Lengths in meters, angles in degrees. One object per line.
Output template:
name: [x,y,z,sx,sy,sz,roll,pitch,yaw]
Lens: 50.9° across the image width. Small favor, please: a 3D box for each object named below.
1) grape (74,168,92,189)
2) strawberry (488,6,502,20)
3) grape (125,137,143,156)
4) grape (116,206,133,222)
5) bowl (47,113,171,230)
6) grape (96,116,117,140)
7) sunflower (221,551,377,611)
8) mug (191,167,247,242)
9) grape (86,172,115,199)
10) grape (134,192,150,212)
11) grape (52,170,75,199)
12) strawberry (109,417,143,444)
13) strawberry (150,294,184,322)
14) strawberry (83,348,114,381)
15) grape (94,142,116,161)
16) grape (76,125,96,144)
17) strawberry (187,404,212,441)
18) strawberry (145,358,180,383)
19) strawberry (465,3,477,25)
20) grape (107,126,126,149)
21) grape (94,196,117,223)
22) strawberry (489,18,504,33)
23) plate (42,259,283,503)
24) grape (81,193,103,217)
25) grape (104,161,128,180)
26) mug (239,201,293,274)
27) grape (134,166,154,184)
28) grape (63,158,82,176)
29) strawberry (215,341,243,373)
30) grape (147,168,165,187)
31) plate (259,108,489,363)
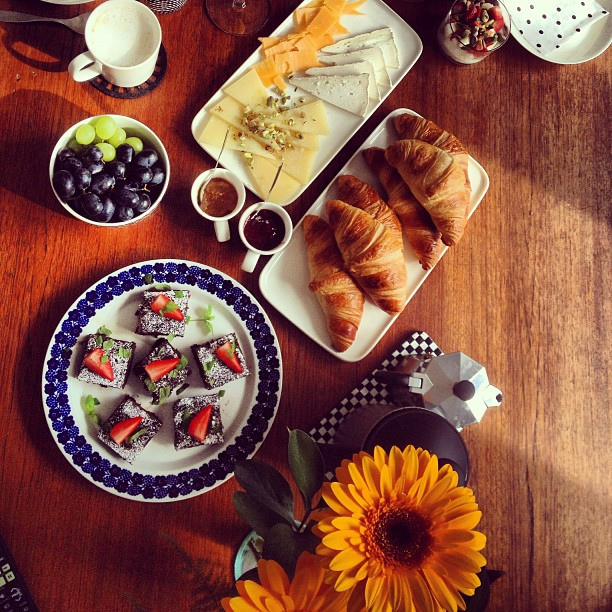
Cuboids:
grape: [-0.500,-0.286,1.444,0.031,0.032,0.045,2,88,-14]
strawberry: [0.483,-0.741,1.631,0.035,0.020,0.029,-15,85,-2]
grape: [-0.400,-0.378,1.526,0.035,0.019,0.038,-1,88,-40]
grape: [-0.426,-0.212,1.482,0.028,0.016,0.031,1,103,-9]
bowl: [-0.453,-0.272,1.491,0.252,0.139,0.285,-1,92,-10]
grape: [-0.455,-0.406,1.471,0.038,0.038,0.052,16,71,-19]
sunflower: [-0.009,0.460,1.079,0.251,0.101,0.093,1,85,-1]
mug: [-0.214,-0.253,1.589,0.116,0.070,0.180,-6,99,-8]
grape: [-0.462,-0.277,1.464,0.068,0.038,0.042,-30,118,1]
grape: [-0.383,-0.246,1.518,0.028,0.035,0.048,13,85,1]
grape: [-0.542,-0.276,1.447,0.048,0.038,0.057,-9,85,-2]
strawberry: [-0.426,0.286,1.536,0.075,0.045,0.038,-44,87,-4]
strawberry: [-0.332,0.004,1.537,0.074,0.023,0.046,36,84,-7]
strawberry: [-0.495,0.139,1.539,0.058,0.021,0.076,-42,100,-16]
grape: [-0.456,-0.358,1.484,0.039,0.020,0.042,-5,93,-36]
grape: [-0.499,-0.390,1.462,0.034,0.023,0.045,6,80,-18]
strawberry: [-0.254,0.277,1.553,0.043,0.055,0.085,9,85,0]
strawberry: [-0.346,0.148,1.557,0.074,0.027,0.046,-22,108,-17]
strawberry: [0.420,-0.740,1.635,0.029,0.021,0.040,41,85,3]
grape: [-0.439,-0.391,1.503,0.043,0.023,0.047,1,94,-36]
grape: [-0.452,-0.220,1.469,0.043,0.026,0.054,30,84,-43]
strawberry: [0.494,-0.718,1.646,0.046,0.024,0.024,-32,86,-4]
plate: [-0.340,0.174,1.576,0.567,0.107,0.574,-15,85,-3]
grape: [-0.477,-0.230,1.446,0.038,0.028,0.052,-20,90,-24]
grape: [-0.434,-0.314,1.487,0.036,0.025,0.047,-5,85,-19]
mug: [-0.100,-0.189,1.662,0.093,0.133,0.086,-5,82,21]
grape: [-0.375,-0.307,1.501,0.042,0.024,0.037,-8,85,-2]
grape: [-0.526,-0.313,1.455,0.037,0.022,0.042,2,82,7]
strawberry: [-0.187,0.127,1.582,0.045,0.031,0.079,-31,87,-4]
grape: [-0.348,-0.304,1.517,0.023,0.037,0.042,43,58,-23]
plate: [0.182,-0.187,1.695,0.351,0.099,0.639,39,85,2]
